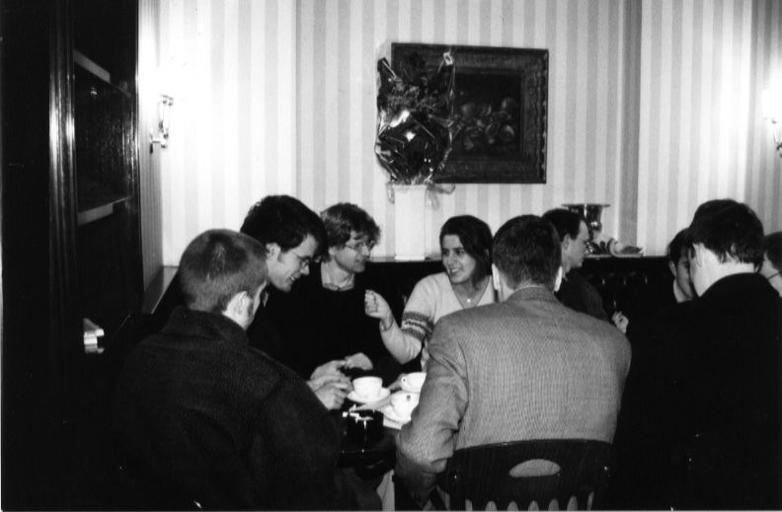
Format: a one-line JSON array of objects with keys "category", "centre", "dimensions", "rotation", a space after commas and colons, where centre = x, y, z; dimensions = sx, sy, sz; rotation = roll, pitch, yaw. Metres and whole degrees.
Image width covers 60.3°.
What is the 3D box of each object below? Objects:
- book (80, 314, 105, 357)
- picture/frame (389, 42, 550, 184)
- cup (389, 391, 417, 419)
[{"category": "book", "centre": [-1.168, 0.318, 2.653], "dimensions": [0.079, 0.128, 0.198], "rotation": [2, 5, -24]}, {"category": "picture/frame", "centre": [0.440, -0.872, 4.059], "dimensions": [0.806, 0.712, 0.061], "rotation": [0, 6, -8]}, {"category": "cup", "centre": [0.055, 0.570, 2.578], "dimensions": [0.085, 0.068, 0.090], "rotation": [1, -5, 0]}]
